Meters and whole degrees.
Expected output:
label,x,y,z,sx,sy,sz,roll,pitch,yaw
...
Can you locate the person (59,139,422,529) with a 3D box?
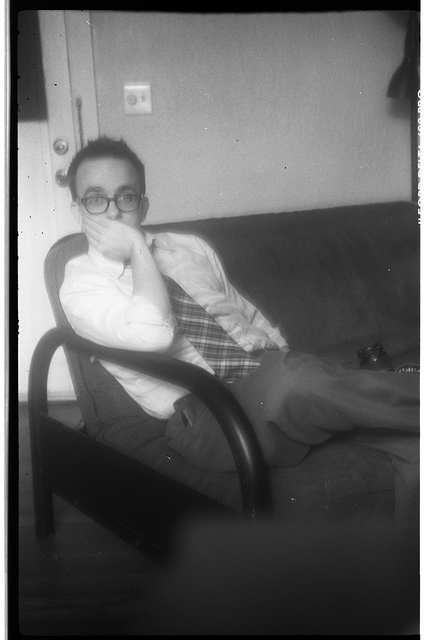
label,x,y,z,sx,sy,sz,roll,pitch,yaw
person,0.009,-0.102,1.265,0.913,0.648,0.439,20,38,24
